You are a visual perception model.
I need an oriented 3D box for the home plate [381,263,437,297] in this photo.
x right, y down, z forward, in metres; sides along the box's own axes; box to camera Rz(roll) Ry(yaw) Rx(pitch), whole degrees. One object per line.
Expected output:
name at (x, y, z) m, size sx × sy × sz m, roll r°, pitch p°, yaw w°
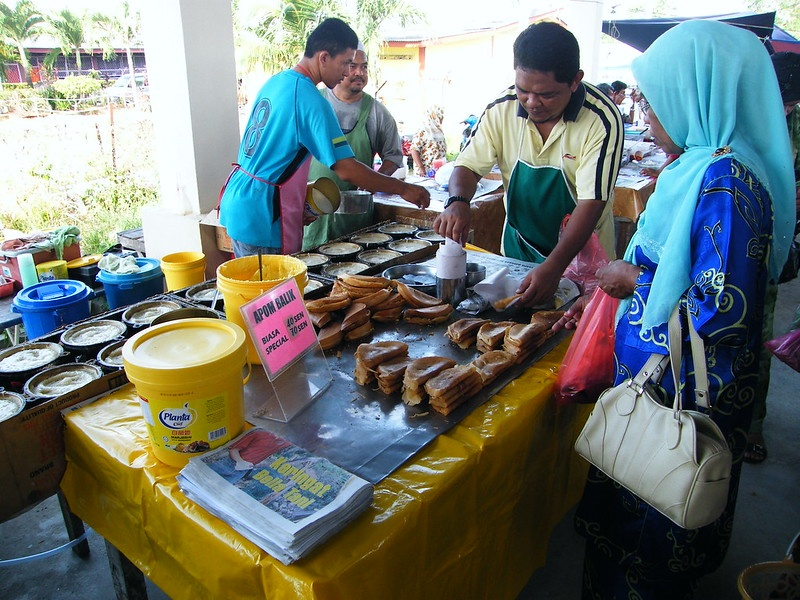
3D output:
home plate at (0.064, -0.103, 2.635) m, size 0.181 × 0.037 × 0.183 m, roll 14°, pitch 22°, yaw 25°

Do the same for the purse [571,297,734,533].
purse at (0.834, 0.440, 1.811) m, size 0.243 × 0.442 × 0.436 m, roll -21°, pitch 24°, yaw -40°

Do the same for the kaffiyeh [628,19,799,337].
kaffiyeh at (0.998, -0.318, 1.894) m, size 0.504 × 1.116 × 0.486 m, roll 14°, pitch 28°, yaw 24°

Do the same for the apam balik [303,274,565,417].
apam balik at (0.041, 0.155, 2.128) m, size 0.644 × 0.166 × 0.649 m, roll 18°, pitch 32°, yaw 35°

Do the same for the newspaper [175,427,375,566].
newspaper at (-0.339, 0.468, 1.465) m, size 0.376 × 0.107 × 0.284 m, roll 21°, pitch 27°, yaw 27°

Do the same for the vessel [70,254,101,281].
vessel at (-2.607, -0.248, 4.686) m, size 0.268 × 0.171 × 0.264 m, roll 6°, pitch 16°, yaw 12°

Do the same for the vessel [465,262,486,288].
vessel at (0.351, -0.109, 2.611) m, size 0.083 × 0.095 × 0.086 m, roll -22°, pitch 33°, yaw -33°
